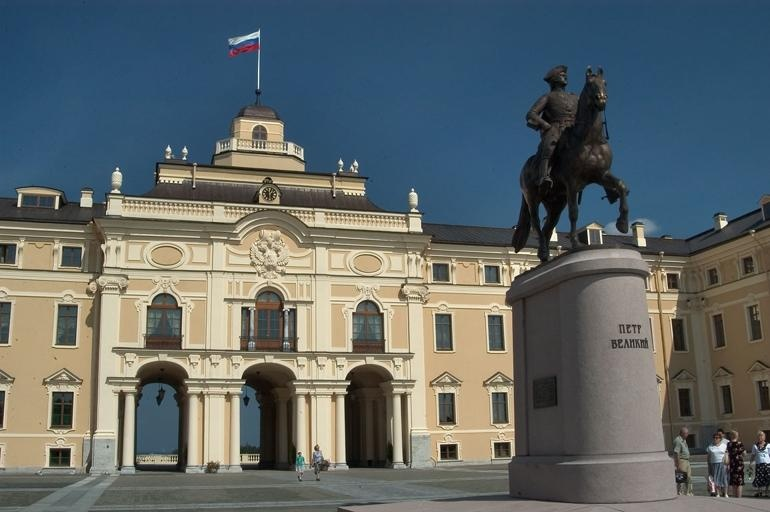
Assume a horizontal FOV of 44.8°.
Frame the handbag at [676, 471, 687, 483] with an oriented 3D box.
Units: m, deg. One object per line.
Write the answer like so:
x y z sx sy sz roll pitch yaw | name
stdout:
9.938 7.343 31.198 0.262 0.371 0.668 -9 -17 28 | handbag

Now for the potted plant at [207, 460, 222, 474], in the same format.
-9.433 11.525 51.304 0.529 0.628 0.521 -2 -12 6 | potted plant

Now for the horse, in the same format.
5.824 -2.928 29.617 3.547 6.013 1.975 -11 -18 32 | horse
